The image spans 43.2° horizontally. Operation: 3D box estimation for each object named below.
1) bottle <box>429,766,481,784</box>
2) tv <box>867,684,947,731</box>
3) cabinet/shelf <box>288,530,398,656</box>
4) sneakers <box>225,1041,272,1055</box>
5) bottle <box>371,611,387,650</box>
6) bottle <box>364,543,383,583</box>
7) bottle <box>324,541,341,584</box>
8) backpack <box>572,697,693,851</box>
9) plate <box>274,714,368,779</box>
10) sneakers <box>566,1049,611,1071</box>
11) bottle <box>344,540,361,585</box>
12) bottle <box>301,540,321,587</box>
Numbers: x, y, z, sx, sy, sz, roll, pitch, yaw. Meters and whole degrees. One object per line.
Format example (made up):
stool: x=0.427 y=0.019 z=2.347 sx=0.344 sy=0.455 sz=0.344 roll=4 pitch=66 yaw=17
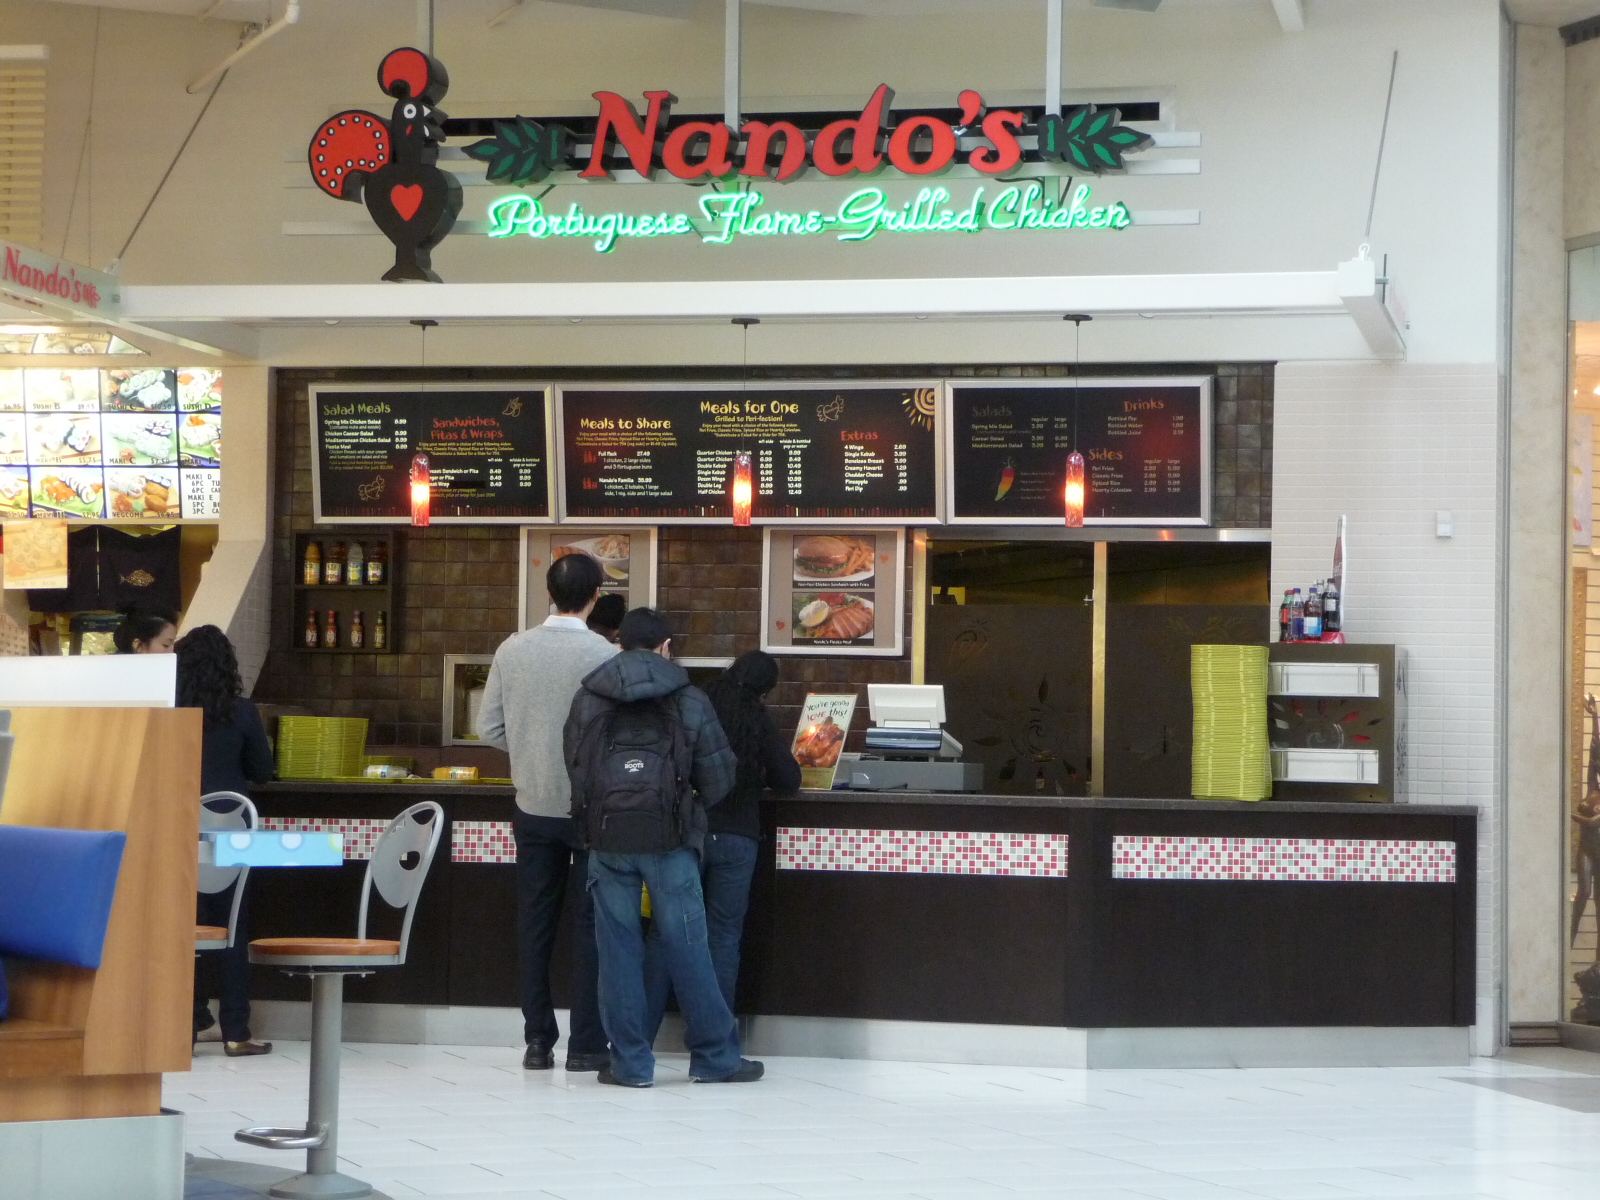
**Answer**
bottle: x=-1.726 y=0.859 z=9.971 sx=0.154 sy=0.053 sz=0.152 roll=0 pitch=-3 yaw=0
tv: x=0.499 y=0.481 z=9.514 sx=0.332 sy=0.182 sz=0.357 roll=1 pitch=4 yaw=5
cabinet/shelf: x=-2.531 y=-0.055 z=11.108 sx=0.700 sy=0.785 sz=0.266 roll=1 pitch=4 yaw=0
sneakers: x=-2.453 y=1.966 z=8.919 sx=0.178 sy=0.065 sz=0.067 roll=8 pitch=-10 yaw=-36
bottle: x=-2.327 y=0.155 z=11.087 sx=0.059 sy=0.190 sz=0.169 roll=-1 pitch=4 yaw=-19
bottle: x=-2.356 y=-0.200 z=11.087 sx=0.099 sy=0.221 sz=0.080 roll=0 pitch=4 yaw=-8
bottle: x=-2.586 y=-0.208 z=11.095 sx=0.085 sy=0.220 sz=0.106 roll=0 pitch=4 yaw=-12
backpack: x=-0.671 y=0.710 z=8.252 sx=0.589 sy=0.730 sz=0.414 roll=-1 pitch=-10 yaw=7
plate: x=-2.352 y=0.711 z=9.808 sx=0.337 sy=0.240 sz=0.332 roll=0 pitch=-3 yaw=12
sneakers: x=-0.927 y=1.971 z=8.688 sx=0.156 sy=0.065 sz=0.079 roll=3 pitch=-3 yaw=-34
bottle: x=-2.463 y=-0.199 z=11.084 sx=0.088 sy=0.237 sz=0.077 roll=0 pitch=4 yaw=-8
bottle: x=-2.706 y=-0.203 z=11.106 sx=0.098 sy=0.230 sz=0.093 roll=1 pitch=4 yaw=0
